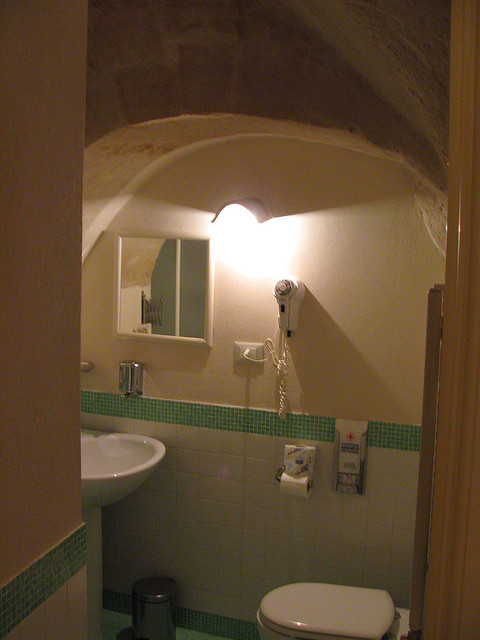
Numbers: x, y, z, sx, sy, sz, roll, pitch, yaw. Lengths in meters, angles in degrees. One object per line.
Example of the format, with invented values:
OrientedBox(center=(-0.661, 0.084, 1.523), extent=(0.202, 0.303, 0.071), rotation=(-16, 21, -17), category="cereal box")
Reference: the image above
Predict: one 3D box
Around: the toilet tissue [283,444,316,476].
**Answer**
OrientedBox(center=(0.220, 0.511, 2.098), extent=(0.113, 0.104, 0.084), rotation=(1, -2, 9), category="toilet tissue")

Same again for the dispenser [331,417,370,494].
OrientedBox(center=(0.399, 0.494, 2.058), extent=(0.103, 0.281, 0.071), rotation=(5, 8, 11), category="dispenser")

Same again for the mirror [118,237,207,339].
OrientedBox(center=(-0.317, -0.133, 2.293), extent=(0.419, 0.462, 0.023), rotation=(4, 9, 6), category="mirror")

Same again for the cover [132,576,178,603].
OrientedBox(center=(-0.322, 1.036, 2.195), extent=(0.120, 0.032, 0.129), rotation=(1, -2, 9), category="cover")

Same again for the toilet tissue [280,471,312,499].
OrientedBox(center=(0.202, 0.595, 2.045), extent=(0.100, 0.083, 0.090), rotation=(-5, 8, 18), category="toilet tissue")

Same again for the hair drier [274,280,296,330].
OrientedBox(center=(0.152, -0.057, 2.084), extent=(0.065, 0.175, 0.119), rotation=(2, -2, -22), category="hair drier")

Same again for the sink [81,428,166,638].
OrientedBox(center=(-0.439, 0.840, 2.171), extent=(0.326, 0.763, 0.638), rotation=(2, -2, -16), category="sink")

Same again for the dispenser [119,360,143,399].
OrientedBox(center=(-0.448, 0.243, 2.321), extent=(0.108, 0.163, 0.100), rotation=(1, -2, 10), category="dispenser")
